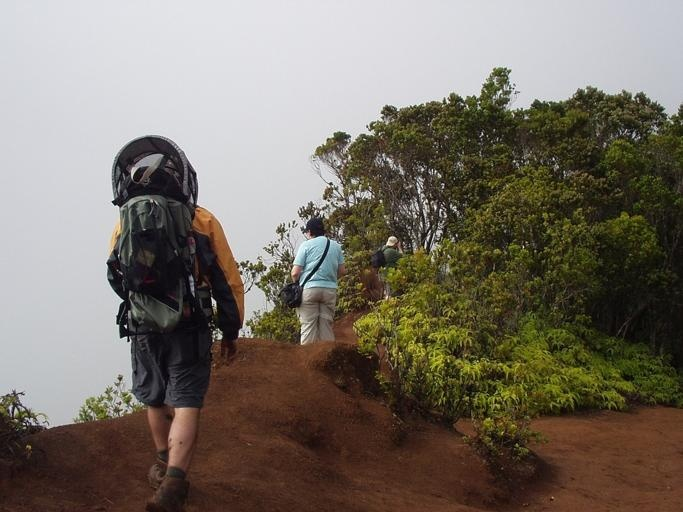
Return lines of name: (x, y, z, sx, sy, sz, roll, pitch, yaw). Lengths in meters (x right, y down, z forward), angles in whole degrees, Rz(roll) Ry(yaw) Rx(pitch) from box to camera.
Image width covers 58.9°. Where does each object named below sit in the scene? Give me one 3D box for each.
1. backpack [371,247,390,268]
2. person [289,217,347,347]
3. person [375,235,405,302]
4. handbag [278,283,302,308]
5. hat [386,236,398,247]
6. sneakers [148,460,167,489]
backpack: (1.115, 0.067, 17.285, 0.465, 0.596, 0.363, 2, 2, -10)
person: (-0.406, 0.435, 10.040, 0.841, 2.061, 0.731, 7, 7, -2)
person: (1.433, 0.484, 17.409, 0.731, 2.264, 0.716, -27, 34, -35)
handbag: (-0.832, 0.634, 10.027, 0.391, 0.449, 0.211, 8, 7, -2)
hat: (1.440, -0.446, 17.040, 0.237, 0.183, 0.347, 2, -9, 4)
sneakers: (-1.906, 2.261, 6.251, 0.166, 0.197, 0.408, 29, -7, -13)
